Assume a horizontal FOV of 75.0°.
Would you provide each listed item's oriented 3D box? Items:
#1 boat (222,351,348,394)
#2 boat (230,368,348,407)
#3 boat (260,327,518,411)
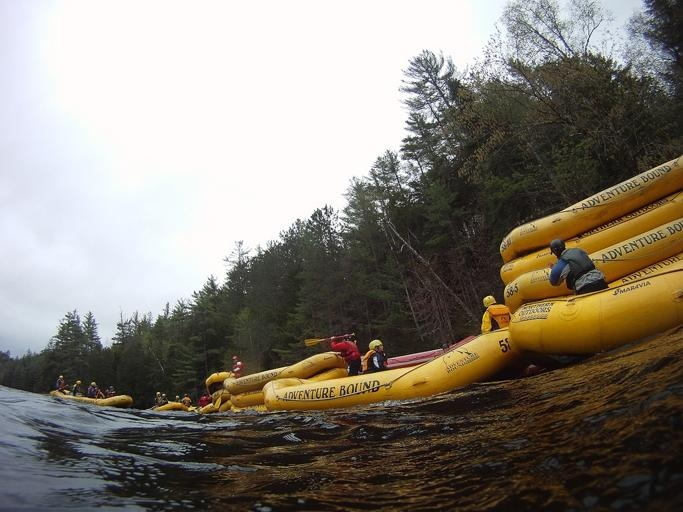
[{"bbox_3d":[-1.513,2.953,11.159,3.253,0.414,1.541,-16,-3,27],"label":"boat"},{"bbox_3d":[-1.589,3.512,11.975,2.988,0.360,1.572,-11,-9,-3],"label":"boat"},{"bbox_3d":[0.725,1.964,6.921,3.270,0.504,1.736,-24,-20,34],"label":"boat"}]
